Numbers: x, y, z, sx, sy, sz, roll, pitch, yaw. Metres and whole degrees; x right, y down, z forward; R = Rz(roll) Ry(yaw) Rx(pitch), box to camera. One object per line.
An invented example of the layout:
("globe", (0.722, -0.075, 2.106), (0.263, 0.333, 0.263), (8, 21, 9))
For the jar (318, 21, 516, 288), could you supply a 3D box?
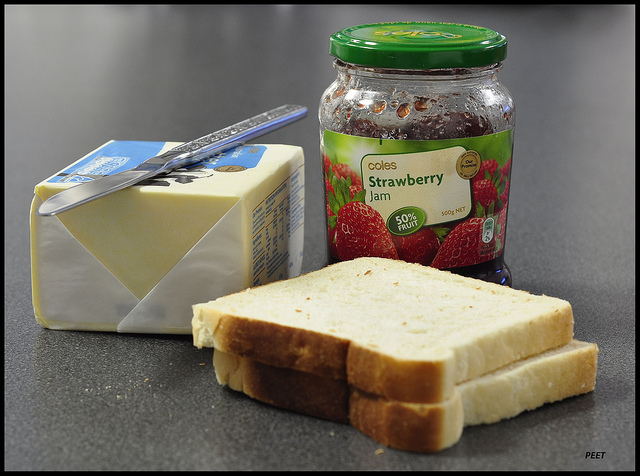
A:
("jar", (0.177, -0.172, 1.338), (0.367, 0.555, 0.304), (-2, 13, -14))
